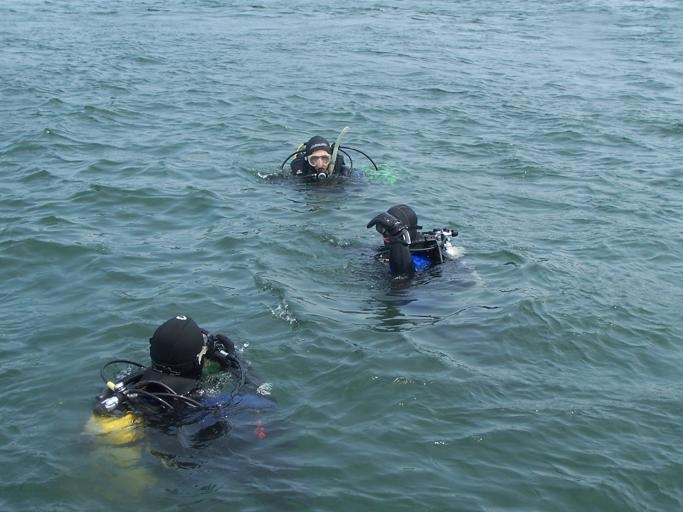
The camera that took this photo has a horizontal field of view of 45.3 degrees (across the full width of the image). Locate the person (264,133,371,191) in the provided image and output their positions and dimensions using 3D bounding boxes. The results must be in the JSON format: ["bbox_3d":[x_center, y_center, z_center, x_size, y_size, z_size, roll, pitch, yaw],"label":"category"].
[{"bbox_3d":[-0.510,-2.089,17.356,2.052,1.102,1.022,4,39,0],"label":"person"}]

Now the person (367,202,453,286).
[{"bbox_3d":[1.065,-0.233,13.939,1.836,1.138,1.087,18,33,37],"label":"person"}]
